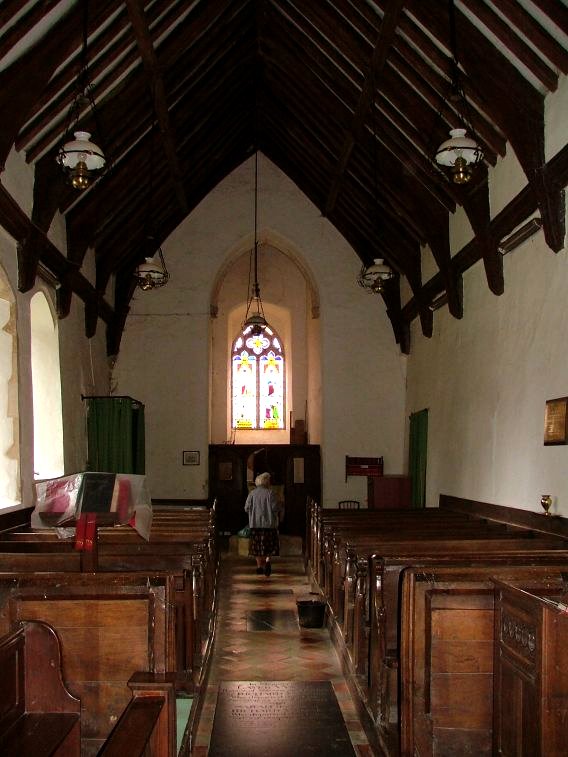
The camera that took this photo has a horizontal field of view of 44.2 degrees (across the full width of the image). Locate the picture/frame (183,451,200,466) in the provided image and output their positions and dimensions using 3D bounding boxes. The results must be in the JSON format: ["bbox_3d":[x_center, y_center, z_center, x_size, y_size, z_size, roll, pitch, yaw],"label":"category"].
[{"bbox_3d":[-1.606,1.378,12.012,0.327,0.268,0.027,0,-4,4],"label":"picture/frame"}]

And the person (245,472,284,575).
[{"bbox_3d":[-0.317,2.121,10.175,0.497,1.462,0.753,1,-4,-3],"label":"person"}]
